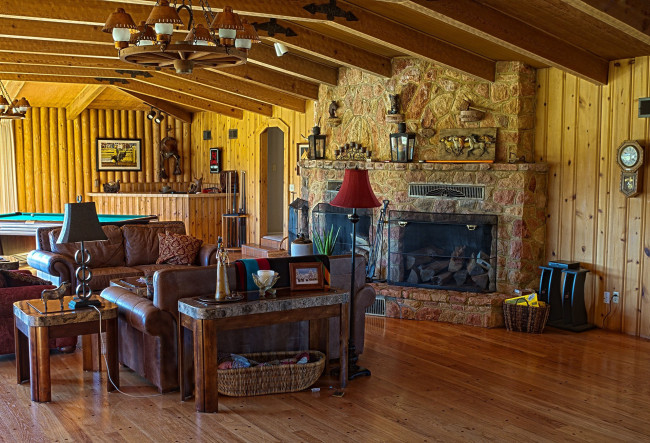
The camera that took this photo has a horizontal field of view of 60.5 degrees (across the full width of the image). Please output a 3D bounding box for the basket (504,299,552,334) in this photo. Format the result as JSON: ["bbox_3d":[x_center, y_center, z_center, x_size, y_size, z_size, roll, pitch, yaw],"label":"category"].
[{"bbox_3d":[2.553,1.204,7.067,0.459,0.296,0.377,-1,-3,32],"label":"basket"}]

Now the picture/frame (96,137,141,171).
[{"bbox_3d":[-5.001,-1.670,13.406,0.843,0.683,0.061,-2,8,-24],"label":"picture/frame"}]

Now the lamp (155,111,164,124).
[{"bbox_3d":[-3.951,-2.518,13.371,0.166,0.119,0.275,-8,38,4],"label":"lamp"}]

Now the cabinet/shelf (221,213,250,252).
[{"bbox_3d":[-1.939,0.192,12.158,0.576,0.771,0.358,-2,12,-9],"label":"cabinet/shelf"}]

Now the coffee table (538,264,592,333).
[{"bbox_3d":[3.111,0.983,7.158,0.512,0.923,0.806,-4,4,-34],"label":"coffee table"}]

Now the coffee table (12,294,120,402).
[{"bbox_3d":[-2.418,1.193,5.380,1.014,0.955,0.984,0,3,-21],"label":"coffee table"}]

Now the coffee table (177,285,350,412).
[{"bbox_3d":[-0.621,1.203,5.231,1.110,0.630,0.389,-4,9,-34],"label":"coffee table"}]

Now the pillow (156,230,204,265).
[{"bbox_3d":[-2.121,0.395,8.015,0.501,0.491,0.151,10,-14,-4],"label":"pillow"}]

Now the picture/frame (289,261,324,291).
[{"bbox_3d":[-0.180,0.541,5.452,0.286,0.233,0.020,2,-20,-18],"label":"picture/frame"}]

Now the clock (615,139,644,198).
[{"bbox_3d":[3.690,-0.651,6.746,0.304,0.669,0.128,7,14,27],"label":"clock"}]
